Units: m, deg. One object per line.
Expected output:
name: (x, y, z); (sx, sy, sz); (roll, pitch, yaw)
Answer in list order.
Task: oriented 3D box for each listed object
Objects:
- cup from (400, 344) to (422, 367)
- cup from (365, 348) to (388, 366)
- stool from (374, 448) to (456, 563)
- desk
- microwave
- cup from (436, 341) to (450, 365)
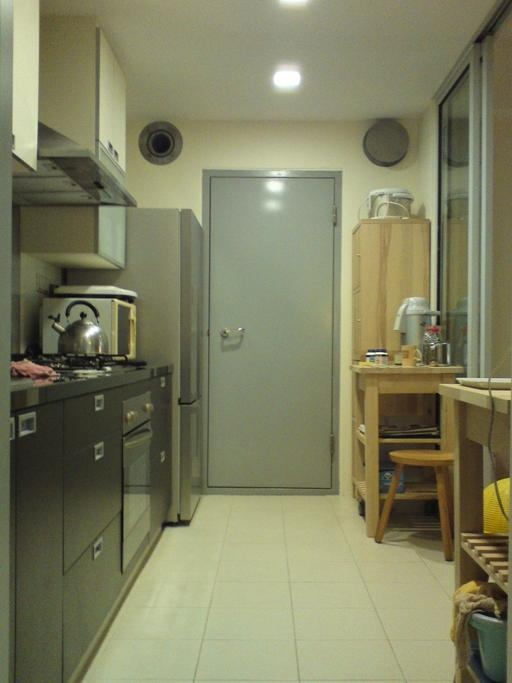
cup: (0.773, 0.068, 2.939); (0.075, 0.154, 0.129); (2, -1, -26)
cup: (0.618, 0.079, 2.954); (0.070, 0.093, 0.083); (1, -5, -1)
stool: (0.732, 0.738, 2.636); (0.262, 0.478, 0.369); (9, -14, 12)
desk: (0.756, 0.407, 3.177); (0.477, 1.111, 1.002); (0, 0, 2)
microwave: (-0.743, -0.039, 2.588); (0.204, 0.300, 0.375); (-1, 1, 17)
cup: (0.961, 0.058, 2.996); (0.066, 0.118, 0.237); (0, -1, 19)
